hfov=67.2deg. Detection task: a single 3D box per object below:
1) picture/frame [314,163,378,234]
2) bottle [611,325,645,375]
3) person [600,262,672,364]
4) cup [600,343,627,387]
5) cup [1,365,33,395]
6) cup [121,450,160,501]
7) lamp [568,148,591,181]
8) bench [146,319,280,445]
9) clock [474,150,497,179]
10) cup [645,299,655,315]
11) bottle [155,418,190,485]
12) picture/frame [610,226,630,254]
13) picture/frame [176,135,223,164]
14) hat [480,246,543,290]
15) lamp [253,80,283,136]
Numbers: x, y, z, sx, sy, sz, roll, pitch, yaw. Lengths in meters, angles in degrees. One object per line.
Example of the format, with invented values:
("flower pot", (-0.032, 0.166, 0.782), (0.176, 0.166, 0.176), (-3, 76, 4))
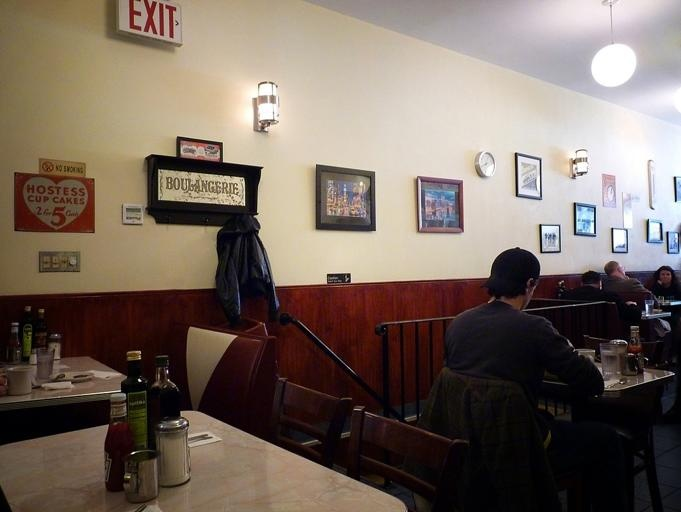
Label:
("picture/frame", (0.015, -0.607, 5.432), (0.686, 0.687, 0.051), (1, -3, -35))
("bottle", (2.059, 0.673, 3.586), (0.183, 0.383, 0.346), (-3, -9, 25))
("person", (3.600, 0.674, 6.269), (0.326, 0.475, 1.019), (-2, 6, -10))
("cup", (1.813, 0.729, 3.409), (0.161, 0.293, 0.171), (1, -9, 0))
("cup", (-1.972, 0.761, 3.114), (0.176, 0.144, 0.117), (0, -3, -2))
("cup", (-0.747, 0.839, 1.983), (0.102, 0.160, 0.171), (0, 2, 12))
("lamp", (3.599, -1.384, 7.715), (0.246, 0.413, 0.232), (-2, 2, -39))
("bench", (-0.988, 0.902, 3.847), (1.034, 0.737, 0.267), (5, -3, 35))
("clock", (1.850, -1.171, 6.569), (0.069, 0.337, 0.306), (2, 2, 45))
("cup", (4.146, 0.687, 6.885), (0.140, 0.251, 0.147), (1, -7, 0))
("bottle", (-0.684, 0.790, 2.085), (0.136, 0.252, 0.146), (-3, 1, 0))
("picture/frame", (4.603, -0.269, 8.485), (0.426, 0.438, 0.040), (2, -4, -44))
("picture/frame", (-1.281, -0.963, 4.646), (0.412, 0.227, 0.144), (-2, 2, -19))
("hat", (1.050, 0.065, 3.188), (0.386, 0.258, 0.268), (-12, 0, -10))
("lamp", (-0.717, -1.421, 4.899), (0.220, 0.448, 0.252), (-1, 1, -20))
